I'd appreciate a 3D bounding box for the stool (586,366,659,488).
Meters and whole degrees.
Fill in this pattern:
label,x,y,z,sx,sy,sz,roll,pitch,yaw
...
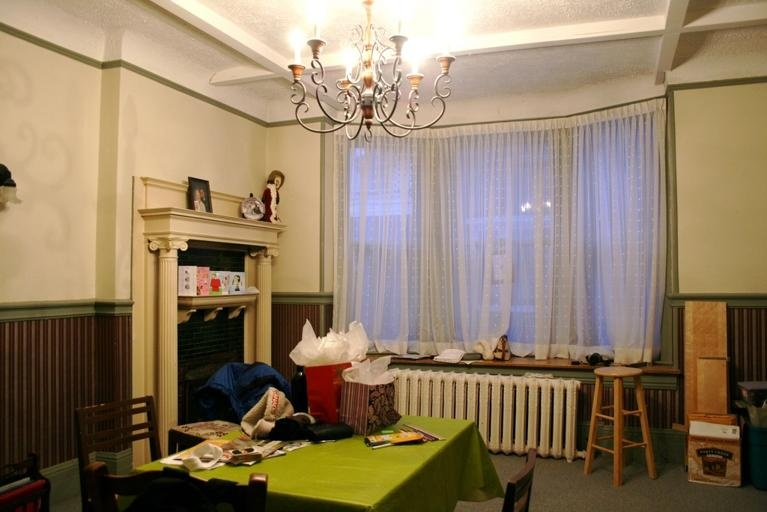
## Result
label,x,y,z,sx,sy,sz,roll,pitch,yaw
stool,2.251,1.565,5.602,0.626,1.017,0.730,-3,-3,24

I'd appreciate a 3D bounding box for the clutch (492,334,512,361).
label,x,y,z,sx,sy,sz,roll,pitch,yaw
clutch,1.248,0.974,6.241,0.180,0.264,0.093,-2,-3,9

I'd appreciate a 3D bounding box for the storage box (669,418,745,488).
label,x,y,z,sx,sy,sz,roll,pitch,yaw
storage box,3.034,1.788,5.408,0.431,0.582,0.330,0,6,23

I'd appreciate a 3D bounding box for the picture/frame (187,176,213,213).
label,x,y,z,sx,sy,sz,roll,pitch,yaw
picture/frame,-1.865,-0.611,5.924,0.048,0.422,0.381,-14,-15,25
